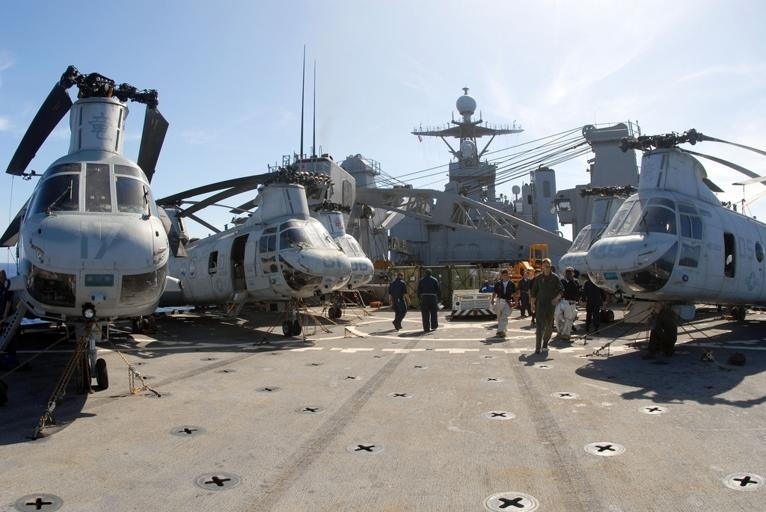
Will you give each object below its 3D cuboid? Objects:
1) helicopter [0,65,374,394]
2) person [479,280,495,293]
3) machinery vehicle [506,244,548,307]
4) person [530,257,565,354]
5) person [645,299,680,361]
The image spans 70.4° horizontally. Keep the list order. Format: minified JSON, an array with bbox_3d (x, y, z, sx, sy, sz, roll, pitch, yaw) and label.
[{"bbox_3d":[-7.230,-0.835,14.533,9.784,4.132,7.095,1,2,44],"label":"helicopter"},{"bbox_3d":[4.965,1.502,26.141,1.086,0.440,1.642,-1,-5,6],"label":"person"},{"bbox_3d":[7.910,0.799,31.195,1.232,2.080,3.692,-3,-9,-24],"label":"machinery vehicle"},{"bbox_3d":[4.311,1.335,14.335,0.780,2.449,1.395,0,4,14],"label":"person"},{"bbox_3d":[6.839,1.815,13.346,0.624,1.357,1.041,1,5,25],"label":"person"}]
